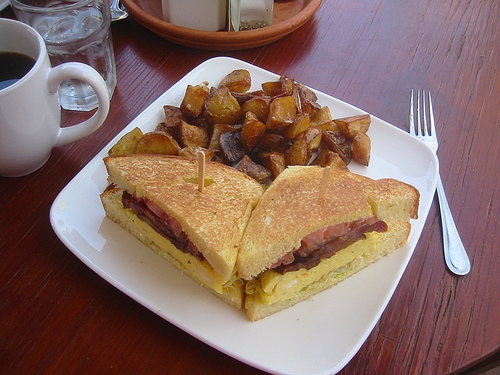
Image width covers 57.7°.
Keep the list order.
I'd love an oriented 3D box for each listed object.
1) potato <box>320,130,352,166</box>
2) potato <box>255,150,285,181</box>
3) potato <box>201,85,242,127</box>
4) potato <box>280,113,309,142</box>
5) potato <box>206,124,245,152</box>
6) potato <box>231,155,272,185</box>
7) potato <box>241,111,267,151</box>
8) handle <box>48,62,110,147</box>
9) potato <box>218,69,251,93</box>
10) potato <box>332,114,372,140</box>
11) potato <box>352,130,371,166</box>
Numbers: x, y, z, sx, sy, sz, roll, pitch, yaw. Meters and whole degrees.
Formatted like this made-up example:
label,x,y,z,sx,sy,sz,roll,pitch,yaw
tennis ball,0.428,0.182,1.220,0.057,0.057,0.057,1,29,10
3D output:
label,x,y,z,sx,sy,sz,roll,pitch,yaw
potato,0.363,-0.156,2.032,0.141,0.054,0.148,48,47,-13
potato,0.087,-0.109,1.911,0.112,0.124,0.043,25,27,23
potato,-0.122,-0.345,1.928,0.153,0.084,0.156,41,77,-3
potato,0.197,-0.254,1.936,0.076,0.132,0.047,27,25,-15
potato,-0.136,-0.200,1.979,0.114,0.034,0.141,10,80,-10
potato,0.026,-0.090,1.920,0.052,0.161,0.137,64,22,-20
potato,0.035,-0.239,1.937,0.049,0.130,0.134,34,35,-5
handle,-0.729,-0.345,1.912,0.246,0.232,0.185,31,53,0
potato,-0.063,-0.488,2.047,0.110,0.050,0.125,-27,44,-12
potato,0.456,-0.273,1.982,0.133,0.056,0.098,-20,32,-27
potato,0.488,-0.179,1.963,0.111,0.041,0.116,40,59,-27
